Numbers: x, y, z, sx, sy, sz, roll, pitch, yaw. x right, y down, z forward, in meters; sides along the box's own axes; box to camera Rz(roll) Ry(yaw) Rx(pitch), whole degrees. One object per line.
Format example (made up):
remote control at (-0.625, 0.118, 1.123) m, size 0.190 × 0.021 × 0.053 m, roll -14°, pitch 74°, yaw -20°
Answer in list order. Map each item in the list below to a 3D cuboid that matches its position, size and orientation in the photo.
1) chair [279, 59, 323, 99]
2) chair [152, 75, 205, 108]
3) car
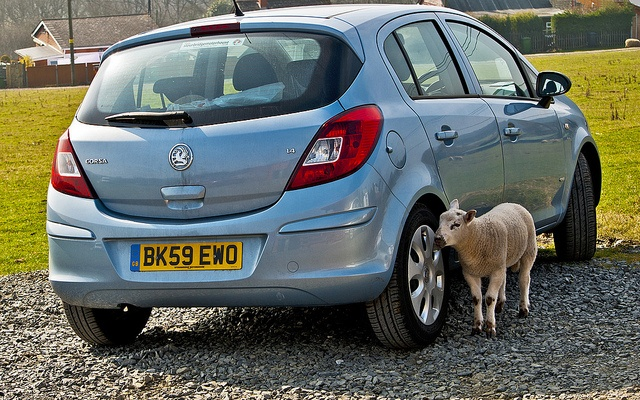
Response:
chair at (-0.134, -0.952, 4.806) m, size 0.324 × 0.303 × 0.321 m, roll 2°, pitch -4°, yaw 5°
chair at (-1.158, -0.856, 5.113) m, size 0.367 × 0.261 × 0.359 m, roll -4°, pitch -10°, yaw 15°
car at (0.510, -0.462, 6.190) m, size 2.822 × 2.137 × 4.786 m, roll 0°, pitch 9°, yaw 30°
